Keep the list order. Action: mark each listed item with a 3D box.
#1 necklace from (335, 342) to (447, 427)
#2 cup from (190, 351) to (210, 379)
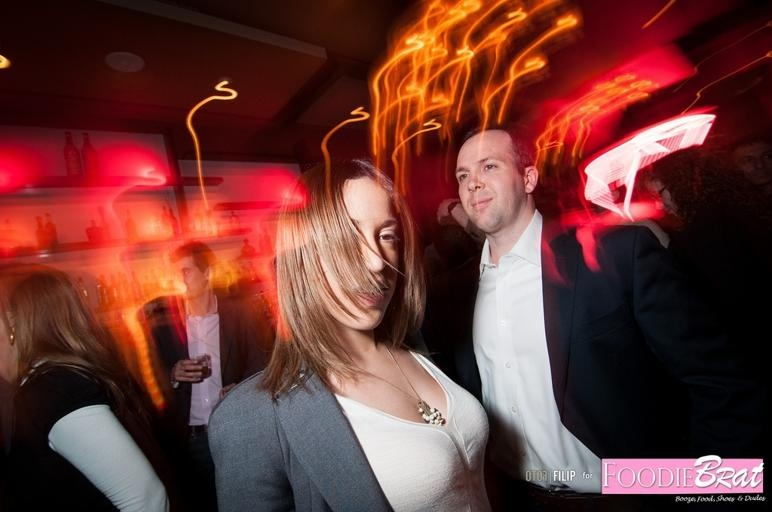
[{"bbox_3d":[0.146,0.795,2.778,0.432,0.158,0.431,35,47,21],"label":"necklace"},{"bbox_3d":[-1.480,0.891,3.881,0.167,0.214,0.086,-1,-6,9],"label":"cup"}]
